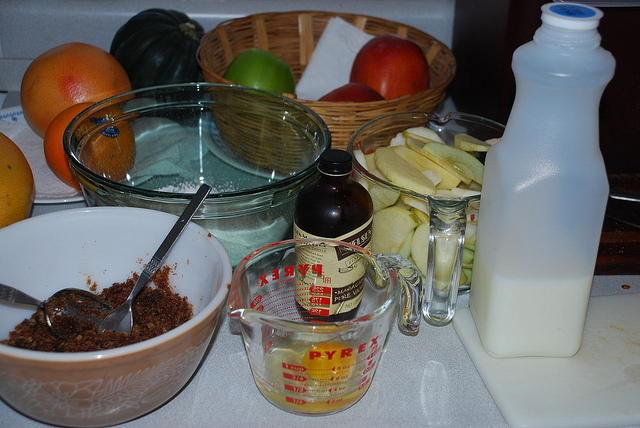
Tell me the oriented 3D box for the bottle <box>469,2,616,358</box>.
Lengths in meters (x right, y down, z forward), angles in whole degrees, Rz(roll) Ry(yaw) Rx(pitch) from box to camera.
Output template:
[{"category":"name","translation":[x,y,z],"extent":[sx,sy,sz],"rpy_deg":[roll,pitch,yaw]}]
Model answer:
[{"category":"bottle","translation":[0.280,-0.022,0.688],"extent":[0.149,0.477,0.164],"rpy_deg":[1,27,-8]}]

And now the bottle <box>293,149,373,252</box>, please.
[{"category":"bottle","translation":[0.023,0.005,0.746],"extent":[0.122,0.196,0.115],"rpy_deg":[-2,31,1]}]

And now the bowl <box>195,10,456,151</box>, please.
[{"category":"bowl","translation":[0.000,-0.241,1.253],"extent":[0.588,0.428,0.493],"rpy_deg":[3,31,2]}]

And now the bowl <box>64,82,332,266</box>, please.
[{"category":"bowl","translation":[-0.149,-0.108,0.922],"extent":[0.405,0.325,0.501],"rpy_deg":[-14,28,-28]}]

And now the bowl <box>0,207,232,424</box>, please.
[{"category":"bowl","translation":[-0.295,0.117,0.720],"extent":[0.307,0.162,0.298],"rpy_deg":[6,31,-4]}]

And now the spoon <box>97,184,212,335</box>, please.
[{"category":"spoon","translation":[-0.238,0.069,0.719],"extent":[0.044,0.030,0.226],"rpy_deg":[31,81,14]}]

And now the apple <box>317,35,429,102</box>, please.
[{"category":"apple","translation":[0.108,-0.285,1.017],"extent":[0.143,0.098,0.237],"rpy_deg":[25,43,34]}]

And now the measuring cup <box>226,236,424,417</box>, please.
[{"category":"measuring cup","translation":[0.000,0.137,0.684],"extent":[0.190,0.185,0.209],"rpy_deg":[18,40,27]}]
